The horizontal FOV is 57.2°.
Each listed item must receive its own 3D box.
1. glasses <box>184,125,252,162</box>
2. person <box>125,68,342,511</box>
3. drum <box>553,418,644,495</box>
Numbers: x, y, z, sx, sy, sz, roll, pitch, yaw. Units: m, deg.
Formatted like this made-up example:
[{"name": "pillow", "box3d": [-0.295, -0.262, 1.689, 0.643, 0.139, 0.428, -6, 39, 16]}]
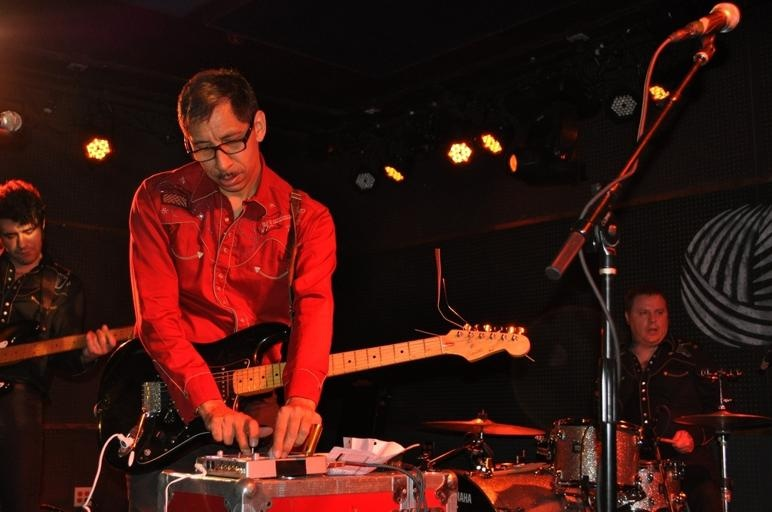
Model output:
[{"name": "glasses", "box3d": [-0.890, -0.595, 3.766, 0.351, 0.189, 0.102, -4, -20, 11]}, {"name": "person", "box3d": [-0.820, -0.018, 3.807, 1.017, 1.812, 0.601, 11, -22, -28]}, {"name": "drum", "box3d": [1.352, 1.373, 4.609, 0.723, 0.538, 0.740, 1, -10, 0]}]
